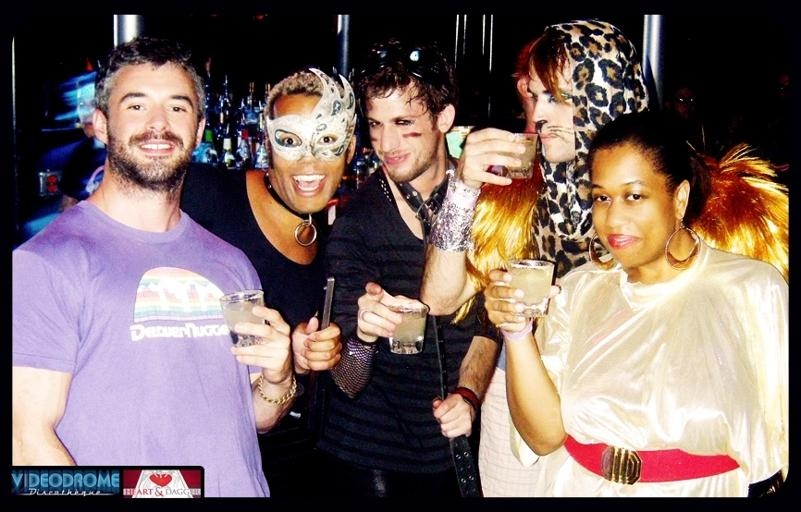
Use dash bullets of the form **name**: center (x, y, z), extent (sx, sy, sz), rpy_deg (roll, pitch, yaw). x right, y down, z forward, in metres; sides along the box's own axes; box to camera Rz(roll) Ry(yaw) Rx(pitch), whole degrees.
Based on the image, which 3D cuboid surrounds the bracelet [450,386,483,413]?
- **bracelet**: center (0.404, 0.817, 3.701), extent (0.107, 0.153, 0.152), rpy_deg (50, 3, 34)

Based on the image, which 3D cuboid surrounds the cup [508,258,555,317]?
- **cup**: center (0.642, 0.146, 3.085), extent (0.280, 0.277, 0.271), rpy_deg (-1, 5, 0)

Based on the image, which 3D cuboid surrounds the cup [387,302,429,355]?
- **cup**: center (0.067, 0.394, 3.482), extent (0.281, 0.264, 0.258), rpy_deg (1, -1, 0)

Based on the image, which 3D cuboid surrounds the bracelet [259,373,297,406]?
- **bracelet**: center (-0.640, 0.716, 3.451), extent (0.178, 0.155, 0.051), rpy_deg (0, 1, 2)

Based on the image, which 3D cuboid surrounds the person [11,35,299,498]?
- **person**: center (-1.307, 0.104, 3.257), extent (1.271, 2.413, 0.529), rpy_deg (-1, 12, -15)

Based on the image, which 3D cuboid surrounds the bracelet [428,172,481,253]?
- **bracelet**: center (0.323, -0.276, 3.566), extent (0.343, 0.453, 0.285), rpy_deg (14, 19, 35)

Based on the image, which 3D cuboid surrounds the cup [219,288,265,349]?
- **cup**: center (-0.775, 0.312, 3.124), extent (0.198, 0.283, 0.136), rpy_deg (-1, 11, -13)

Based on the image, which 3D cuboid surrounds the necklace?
- **necklace**: center (-0.670, -0.273, 4.066), extent (0.320, 0.477, 0.123), rpy_deg (-16, 3, -28)
